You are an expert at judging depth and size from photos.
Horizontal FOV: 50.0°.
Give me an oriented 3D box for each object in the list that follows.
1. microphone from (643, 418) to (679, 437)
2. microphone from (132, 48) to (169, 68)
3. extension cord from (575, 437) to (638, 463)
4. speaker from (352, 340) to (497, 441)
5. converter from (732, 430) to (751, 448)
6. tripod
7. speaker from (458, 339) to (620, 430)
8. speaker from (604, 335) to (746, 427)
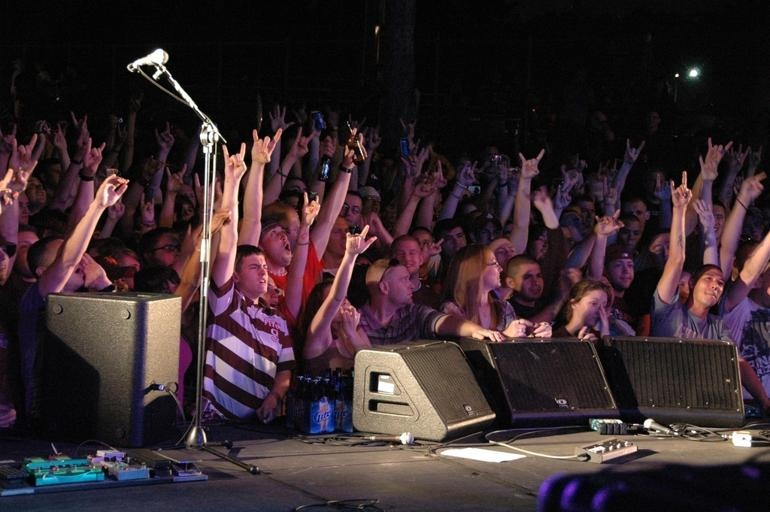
[{"bbox_3d":[1.712,1.077,5.187,0.213,0.074,0.078,18,11,31],"label":"microphone"},{"bbox_3d":[-1.343,-1.129,4.705,0.203,0.127,0.323,-1,10,-12],"label":"microphone"},{"bbox_3d":[1.258,1.093,4.646,0.274,0.056,0.133,-4,6,-32],"label":"extension cord"},{"bbox_3d":[0.241,0.848,5.267,0.901,0.518,0.927,3,-1,45],"label":"speaker"},{"bbox_3d":[2.121,1.105,4.940,0.082,0.044,0.107,-1,-2,20],"label":"converter"},{"bbox_3d":[-1.043,0.215,4.980,0.451,1.779,1.573,-1,11,-12],"label":"tripod"},{"bbox_3d":[0.960,0.779,5.434,1.043,0.603,0.552,2,-22,-30],"label":"speaker"},{"bbox_3d":[1.838,0.843,5.457,1.066,0.660,0.238,4,-20,-21],"label":"speaker"}]
